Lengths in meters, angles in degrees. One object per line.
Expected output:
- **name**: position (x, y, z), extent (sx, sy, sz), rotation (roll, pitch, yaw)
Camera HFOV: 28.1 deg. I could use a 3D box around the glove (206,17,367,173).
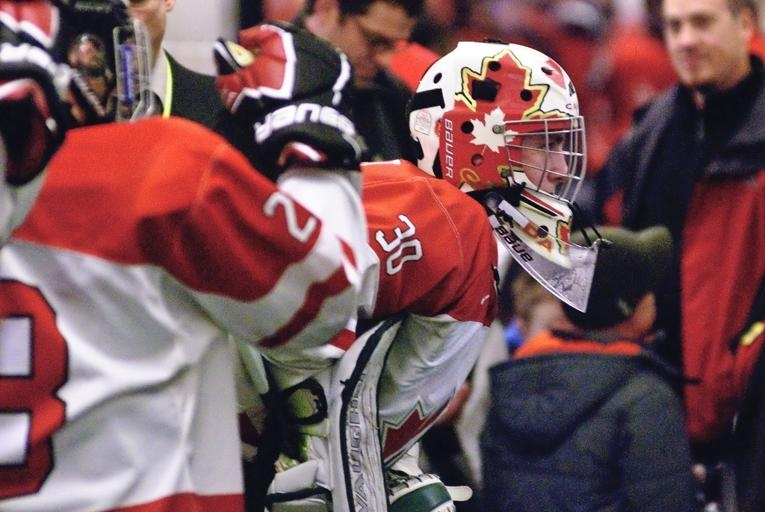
- **glove**: position (-0.251, -0.492, 4.803), extent (0.382, 0.494, 0.226), rotation (-33, -5, 21)
